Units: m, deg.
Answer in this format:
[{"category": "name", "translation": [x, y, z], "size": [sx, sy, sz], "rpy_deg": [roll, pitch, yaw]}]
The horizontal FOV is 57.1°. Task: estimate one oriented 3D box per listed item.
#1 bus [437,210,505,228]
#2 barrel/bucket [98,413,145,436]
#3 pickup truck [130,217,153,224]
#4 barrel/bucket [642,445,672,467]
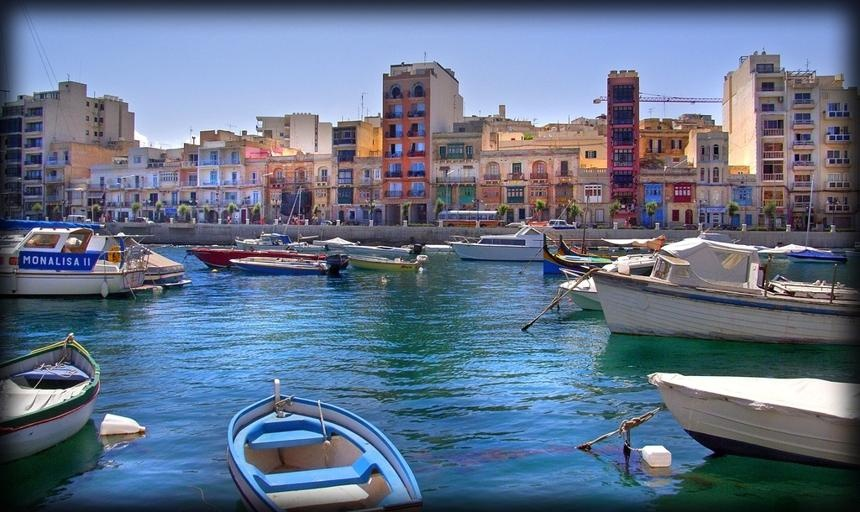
[{"category": "bus", "translation": [5.751, -4.425, 95.977], "size": [9.261, 2.000, 2.486], "rpy_deg": [0, 8, 8]}, {"category": "barrel/bucket", "translation": [-11.695, 6.367, 30.017], "size": [1.495, 0.451, 0.756], "rpy_deg": [6, 11, -9]}, {"category": "pickup truck", "translation": [-39.550, -4.867, 108.124], "size": [2.488, 1.016, 1.345], "rpy_deg": [-2, 3, 10]}, {"category": "barrel/bucket", "translation": [8.293, 7.229, 28.850], "size": [0.777, 0.430, 0.963], "rpy_deg": [1, 2, 6]}]
